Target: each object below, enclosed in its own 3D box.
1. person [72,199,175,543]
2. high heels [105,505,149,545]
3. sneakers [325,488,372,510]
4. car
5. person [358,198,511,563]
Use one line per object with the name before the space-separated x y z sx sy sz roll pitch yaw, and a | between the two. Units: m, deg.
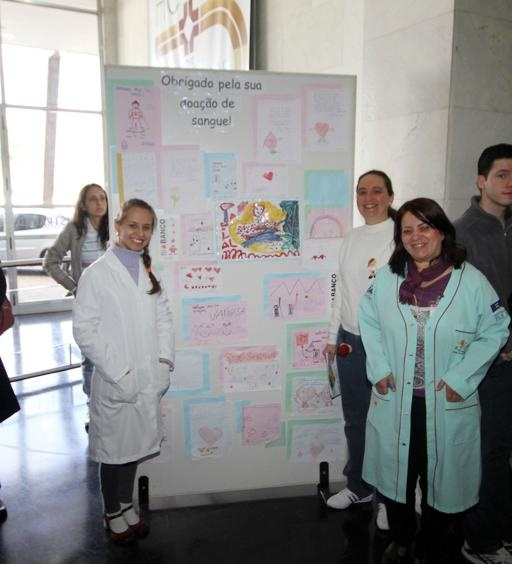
person | -0.542 0.399 2.041 0.413 1.488 0.305 -4 8 -22
high heels | -0.568 1.071 2.109 0.112 0.079 0.190 -1 -6 -30
sneakers | 0.431 1.053 2.308 0.230 0.102 0.087 -3 13 -14
car | -3.178 -0.542 7.131 1.575 0.876 0.954 1 4 -12
person | 0.616 0.426 1.716 0.504 1.434 0.261 1 8 18
